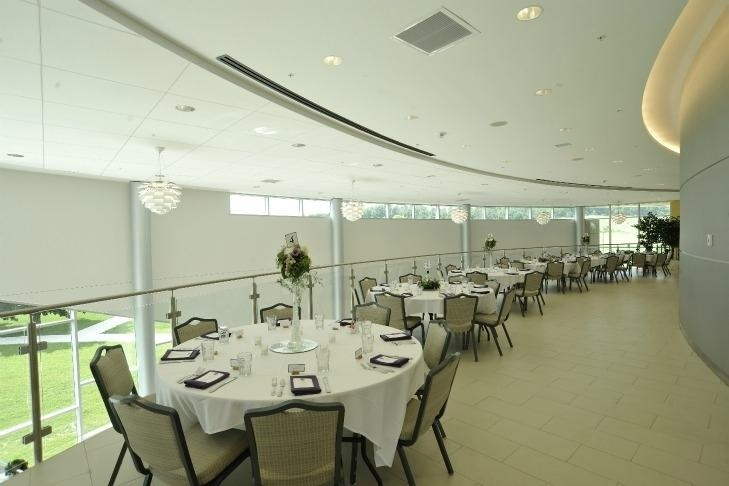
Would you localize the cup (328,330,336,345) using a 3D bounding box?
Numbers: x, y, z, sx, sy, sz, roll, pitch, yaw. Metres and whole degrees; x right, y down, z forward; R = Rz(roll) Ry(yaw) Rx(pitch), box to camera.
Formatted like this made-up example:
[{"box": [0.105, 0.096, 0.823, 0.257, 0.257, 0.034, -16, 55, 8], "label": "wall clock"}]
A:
[{"box": [-0.416, 1.195, 6.174, 0.125, 0.212, 0.123, -2, 2, 0], "label": "cup"}]

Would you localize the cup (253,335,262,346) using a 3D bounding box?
[{"box": [-1.332, 1.225, 6.078, 0.106, 0.117, 0.114, 0, -5, 0], "label": "cup"}]

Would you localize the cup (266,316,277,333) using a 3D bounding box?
[{"box": [-1.296, 1.123, 6.674, 0.161, 0.164, 0.158, -1, -6, 0], "label": "cup"}]

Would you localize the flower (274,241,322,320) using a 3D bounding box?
[{"box": [-0.848, 0.404, 6.183, 0.566, 0.887, 0.481, 6, 10, -3], "label": "flower"}]

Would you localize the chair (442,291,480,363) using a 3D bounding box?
[{"box": [1.556, 1.395, 8.561, 0.716, 1.186, 0.783, -2, 10, -3], "label": "chair"}]

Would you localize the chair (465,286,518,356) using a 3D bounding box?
[{"box": [2.248, 1.361, 8.775, 0.751, 1.110, 0.671, 6, 8, 34], "label": "chair"}]

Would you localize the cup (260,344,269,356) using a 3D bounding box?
[{"box": [-1.205, 1.272, 5.825, 0.100, 0.129, 0.134, -2, 4, -17], "label": "cup"}]

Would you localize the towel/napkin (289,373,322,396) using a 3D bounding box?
[{"box": [-0.629, 1.492, 5.135, 0.312, 0.136, 0.325, 0, -3, -9], "label": "towel/napkin"}]

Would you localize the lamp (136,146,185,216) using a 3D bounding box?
[{"box": [-3.785, -1.105, 9.031, 0.788, 1.185, 0.791, -3, 4, -31], "label": "lamp"}]

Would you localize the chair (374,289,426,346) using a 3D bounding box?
[{"box": [0.626, 1.340, 8.730, 0.630, 1.082, 0.728, 1, 9, 32], "label": "chair"}]

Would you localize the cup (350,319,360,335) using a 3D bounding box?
[{"box": [-0.140, 1.126, 6.481, 0.113, 0.140, 0.145, 1, -10, -6], "label": "cup"}]
